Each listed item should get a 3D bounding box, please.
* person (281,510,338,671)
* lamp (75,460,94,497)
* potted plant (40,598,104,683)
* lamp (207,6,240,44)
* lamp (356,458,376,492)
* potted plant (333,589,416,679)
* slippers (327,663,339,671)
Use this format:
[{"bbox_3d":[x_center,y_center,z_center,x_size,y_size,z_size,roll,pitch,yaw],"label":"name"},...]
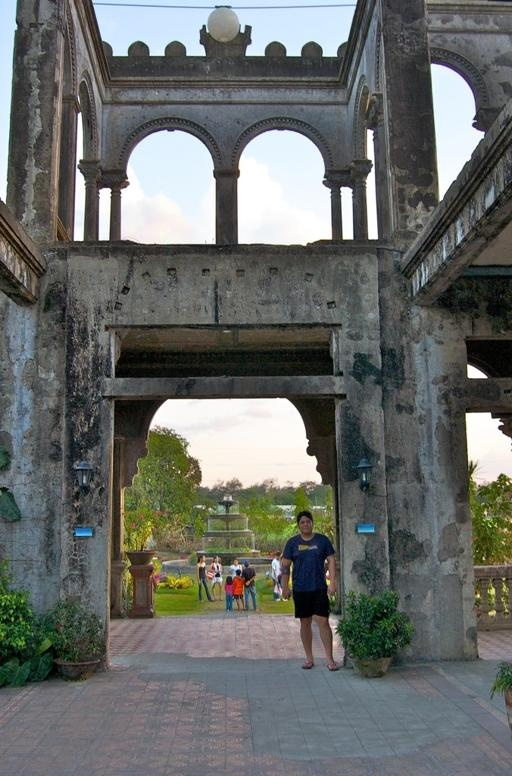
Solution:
[{"bbox_3d":[0.473,1.810,5.955,0.488,1.420,1.777,-3,-12,6],"label":"person"},{"bbox_3d":[-1.607,0.838,6.127,0.174,0.311,0.138,2,-12,-16],"label":"lamp"},{"bbox_3d":[-1.568,2.163,5.741,0.371,0.524,0.457,-22,-24,-9],"label":"potted plant"},{"bbox_3d":[-0.547,-5.927,10.695,0.522,0.551,0.502,-1,-12,-4],"label":"lamp"},{"bbox_3d":[1.032,0.828,6.267,0.155,0.318,0.160,-2,-12,3],"label":"lamp"},{"bbox_3d":[1.115,2.077,5.676,0.560,0.657,0.582,10,-3,-18],"label":"potted plant"},{"bbox_3d":[0.651,2.399,5.687,0.070,0.050,0.172,1,-16,1],"label":"slippers"}]
